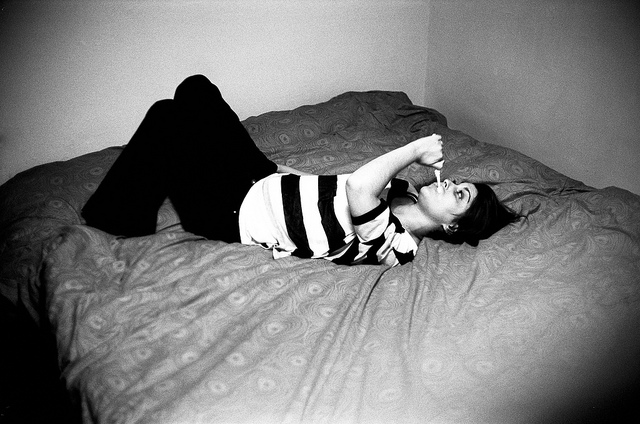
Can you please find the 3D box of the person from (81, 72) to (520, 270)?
[{"bbox_3d":[-0.218,-0.071,2.204,1.885,0.719,0.750,13,54,12],"label":"person"}]
